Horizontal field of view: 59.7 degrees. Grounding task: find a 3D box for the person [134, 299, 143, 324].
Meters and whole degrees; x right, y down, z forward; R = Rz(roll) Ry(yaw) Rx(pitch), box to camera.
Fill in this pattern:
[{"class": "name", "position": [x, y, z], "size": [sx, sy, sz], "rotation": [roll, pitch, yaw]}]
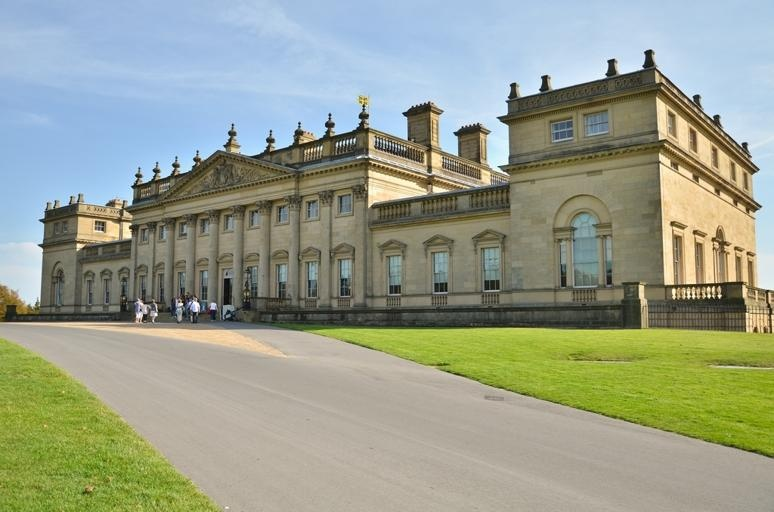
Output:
[{"class": "person", "position": [-18.273, 4.073, 49.702], "size": [0.386, 1.536, 1.805], "rotation": [-1, 6, -12]}]
